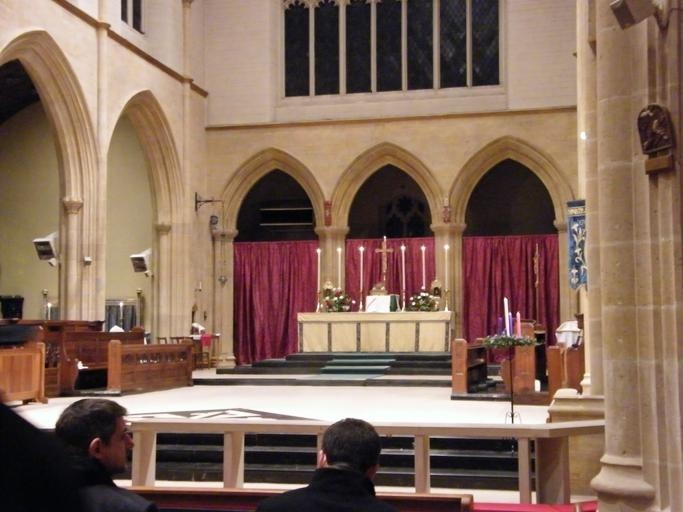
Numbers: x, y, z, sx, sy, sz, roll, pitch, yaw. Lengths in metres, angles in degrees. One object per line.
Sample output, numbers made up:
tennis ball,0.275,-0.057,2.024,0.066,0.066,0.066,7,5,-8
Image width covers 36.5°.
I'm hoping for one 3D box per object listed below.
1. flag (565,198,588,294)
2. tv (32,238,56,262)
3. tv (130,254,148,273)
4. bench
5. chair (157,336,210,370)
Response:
flag,2.531,-0.116,11.101,0.167,0.945,0.358,-2,-6,8
tv,-4.983,-0.110,17.333,0.322,0.482,0.444,-3,-11,12
tv,-3.974,0.173,20.404,0.309,0.450,0.436,1,-6,-8
bench,-3.884,1.529,15.573,0.646,1.149,2.990,-2,-7,10
chair,-3.026,1.896,20.243,0.938,0.625,1.768,-1,-7,-2
